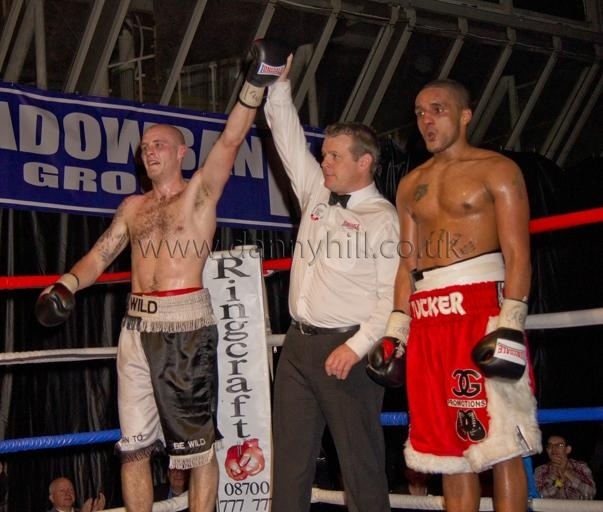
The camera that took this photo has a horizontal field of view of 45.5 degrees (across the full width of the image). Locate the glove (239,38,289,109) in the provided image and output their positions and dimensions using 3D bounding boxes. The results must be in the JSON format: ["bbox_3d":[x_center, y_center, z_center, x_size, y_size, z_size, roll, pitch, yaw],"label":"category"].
[{"bbox_3d":[-0.174,-0.875,3.437,0.199,0.333,0.125,21,28,0],"label":"glove"}]

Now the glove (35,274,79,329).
[{"bbox_3d":[-1.198,0.217,3.580,0.119,0.163,0.308,0,43,22],"label":"glove"}]

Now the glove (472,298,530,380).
[{"bbox_3d":[0.839,0.335,2.945,0.204,0.148,0.424,16,48,20],"label":"glove"}]

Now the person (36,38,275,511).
[{"bbox_3d":[-0.661,0.131,3.558,1.137,2.237,0.394,0,-1,12],"label":"person"}]
